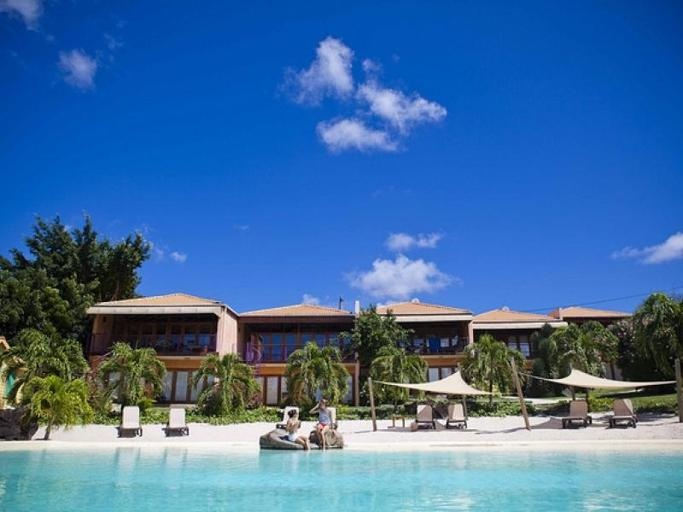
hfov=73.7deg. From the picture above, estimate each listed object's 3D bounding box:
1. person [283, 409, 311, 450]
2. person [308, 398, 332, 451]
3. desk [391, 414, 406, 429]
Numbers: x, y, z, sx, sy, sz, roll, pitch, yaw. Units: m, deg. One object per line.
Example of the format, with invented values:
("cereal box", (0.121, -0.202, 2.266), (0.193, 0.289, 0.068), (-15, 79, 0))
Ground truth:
("person", (-1.750, 7.870, 20.185), (1.490, 1.983, 0.902), (-5, -13, 29))
("person", (-0.843, 7.545, 20.507), (0.855, 2.068, 1.251), (-3, -19, -5))
("desk", (3.452, 9.997, 27.520), (0.780, 0.775, 2.859), (-7, -21, 4))
